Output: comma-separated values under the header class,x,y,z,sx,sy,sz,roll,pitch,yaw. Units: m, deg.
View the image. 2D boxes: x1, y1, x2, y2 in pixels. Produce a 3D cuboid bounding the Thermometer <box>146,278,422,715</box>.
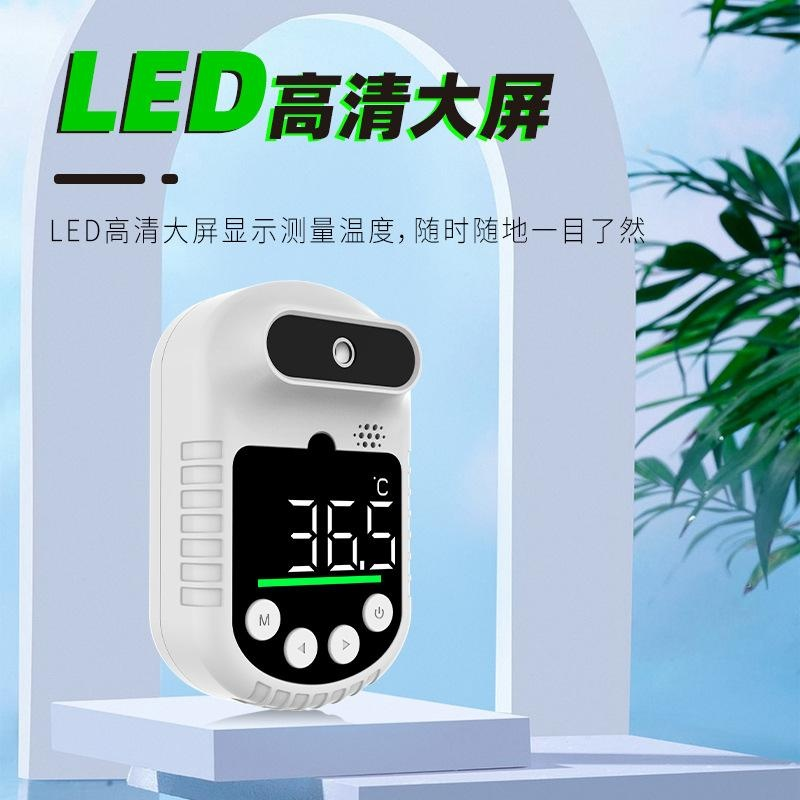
class,x,y,z,sx,sy,sz,roll,pitch,yaw
Thermometer,-0.115,0.089,1.126,0.288,0.426,0.175,3,9,-22
